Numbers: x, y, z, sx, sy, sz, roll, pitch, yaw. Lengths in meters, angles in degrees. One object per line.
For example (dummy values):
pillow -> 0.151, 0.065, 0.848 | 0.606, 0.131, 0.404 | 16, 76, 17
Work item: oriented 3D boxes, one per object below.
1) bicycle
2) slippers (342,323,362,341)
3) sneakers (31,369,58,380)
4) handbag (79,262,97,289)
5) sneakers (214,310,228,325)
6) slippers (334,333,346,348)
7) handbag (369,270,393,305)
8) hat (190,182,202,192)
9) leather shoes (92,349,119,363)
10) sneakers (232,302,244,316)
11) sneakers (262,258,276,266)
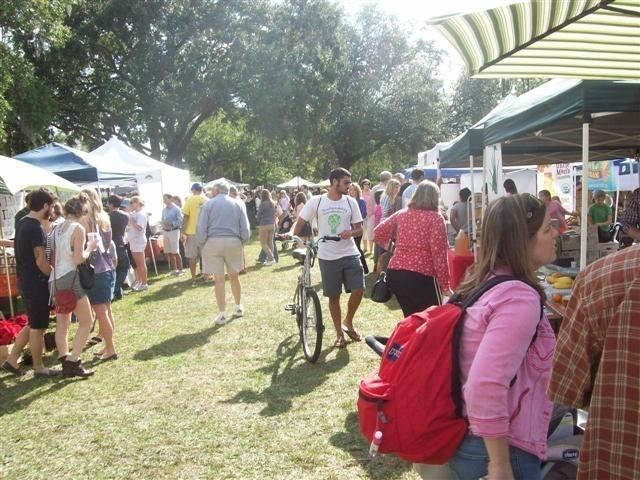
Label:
bicycle -> -0.231, 0.665, 6.795 | 0.932, 1.447, 2.168 | 2, 6, -10
slippers -> 0.408, 1.204, 6.768 | 0.120, 0.100, 0.328 | -6, 30, -37
sneakers -> -3.221, 1.531, 6.056 | 0.269, 0.118, 0.108 | -1, 6, -31
handbag -> -2.640, 0.397, 5.855 | 0.232, 0.368, 0.116 | 10, 15, 35
sneakers -> -1.508, 1.183, 7.960 | 0.202, 0.243, 0.146 | -3, 3, -1
slippers -> 0.245, 1.279, 6.598 | 0.104, 0.138, 0.304 | -1, -13, 2
handbag -> 0.636, 0.443, 5.613 | 0.223, 0.484, 0.439 | 1, 6, -2
hat -> -2.606, -1.092, 10.864 | 0.147, 0.236, 0.216 | 10, -6, -22
leather shoes -> -2.745, 1.453, 6.602 | 0.251, 0.116, 0.162 | 5, -3, -2
sneakers -> -1.329, 1.097, 8.310 | 0.179, 0.198, 0.160 | -1, -1, -40
sneakers -> -1.349, 0.581, 13.511 | 0.352, 0.178, 0.133 | -5, -3, 38
